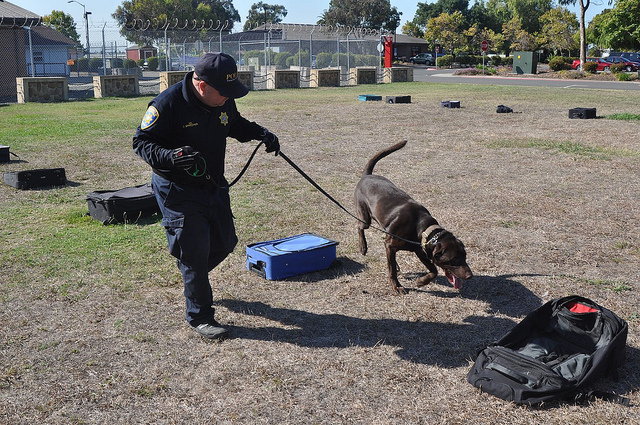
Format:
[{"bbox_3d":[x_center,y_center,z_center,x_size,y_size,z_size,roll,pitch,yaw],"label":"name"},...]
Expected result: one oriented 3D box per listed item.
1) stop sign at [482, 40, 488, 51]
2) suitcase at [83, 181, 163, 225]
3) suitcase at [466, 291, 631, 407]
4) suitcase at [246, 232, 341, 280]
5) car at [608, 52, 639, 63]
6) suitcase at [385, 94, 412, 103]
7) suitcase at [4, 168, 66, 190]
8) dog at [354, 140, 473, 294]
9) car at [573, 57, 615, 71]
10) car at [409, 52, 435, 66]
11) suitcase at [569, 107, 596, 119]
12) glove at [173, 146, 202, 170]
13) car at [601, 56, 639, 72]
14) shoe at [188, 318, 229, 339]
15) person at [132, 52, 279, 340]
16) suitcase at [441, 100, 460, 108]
[{"bbox_3d":[14.753,-14.927,54.095,0.387,0.716,1.221,1,16,7],"label":"stop sign"},{"bbox_3d":[-3.224,-0.119,9.858,0.927,0.512,1.434,16,22,30],"label":"suitcase"},{"bbox_3d":[2.446,1.471,6.347,1.643,0.684,0.931,-12,19,-35],"label":"suitcase"},{"bbox_3d":[-0.339,0.583,8.219,0.947,0.335,0.614,-10,17,-36],"label":"suitcase"},{"bbox_3d":[25.913,-13.209,50.868,0.989,0.818,2.002,-13,21,-20],"label":"car"},{"bbox_3d":[3.539,-5.088,27.217,1.069,0.297,0.638,0,16,4],"label":"suitcase"},{"bbox_3d":[-5.456,-0.645,11.660,0.933,0.363,0.202,-7,16,-21],"label":"suitcase"},{"bbox_3d":[1.087,0.175,8.210,0.800,1.342,2.459,-10,30,-18],"label":"dog"},{"bbox_3d":[22.957,-12.213,50.542,3.124,1.191,1.409,4,16,22],"label":"car"},{"bbox_3d":[12.663,-18.965,74.831,3.246,1.207,2.133,12,20,37],"label":"car"},{"bbox_3d":[9.018,-3.398,20.723,0.810,0.358,0.645,6,17,22],"label":"suitcase"},{"bbox_3d":[-1.455,-0.554,6.373,0.366,0.277,0.226,13,20,40],"label":"glove"},{"bbox_3d":[24.713,-12.164,49.153,1.370,0.943,5.413,1,16,7],"label":"car"},{"bbox_3d":[-1.257,1.286,6.763,0.391,0.195,0.190,2,4,12],"label":"shoe"},{"bbox_3d":[-1.355,-0.183,6.775,1.297,3.087,0.891,-8,16,-24],"label":"person"},{"bbox_3d":[5.358,-4.411,24.697,0.688,0.212,0.355,5,17,19],"label":"suitcase"}]
